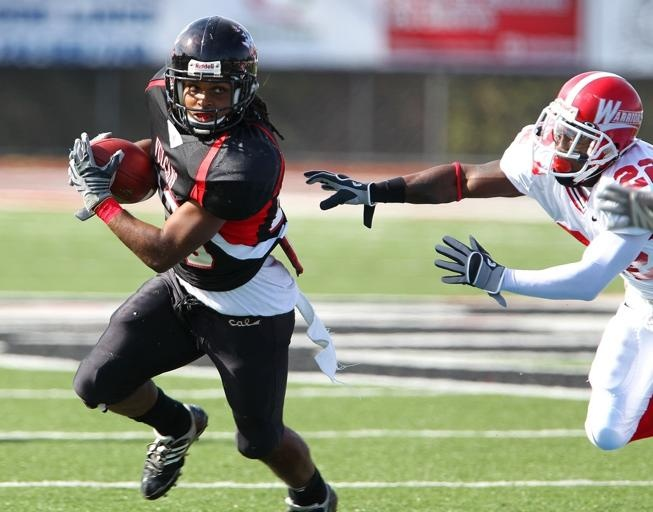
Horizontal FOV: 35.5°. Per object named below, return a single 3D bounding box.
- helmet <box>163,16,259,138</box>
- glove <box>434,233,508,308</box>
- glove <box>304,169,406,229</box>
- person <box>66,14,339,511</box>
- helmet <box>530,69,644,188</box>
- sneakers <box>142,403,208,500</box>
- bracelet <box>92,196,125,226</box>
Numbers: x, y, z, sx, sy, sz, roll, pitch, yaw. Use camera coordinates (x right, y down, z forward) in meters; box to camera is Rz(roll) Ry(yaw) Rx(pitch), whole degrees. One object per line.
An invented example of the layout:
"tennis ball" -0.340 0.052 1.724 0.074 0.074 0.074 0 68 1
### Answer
"helmet" -0.533 -0.884 4.795 0.461 0.435 0.558 3 27 0
"glove" 0.681 0.054 4.764 0.415 0.235 0.129 23 -4 14
"glove" 0.127 -0.356 5.387 0.561 0.234 0.198 8 7 17
"person" -0.571 0.080 4.786 1.249 2.346 0.638 2 16 -1
"helmet" 1.319 -0.634 4.948 0.576 0.455 0.430 -16 26 -27
"sneakers" -0.766 0.978 5.043 0.170 0.475 0.248 26 -3 27
"bracelet" -1.015 -0.207 4.704 0.105 0.097 0.138 -47 21 -13
